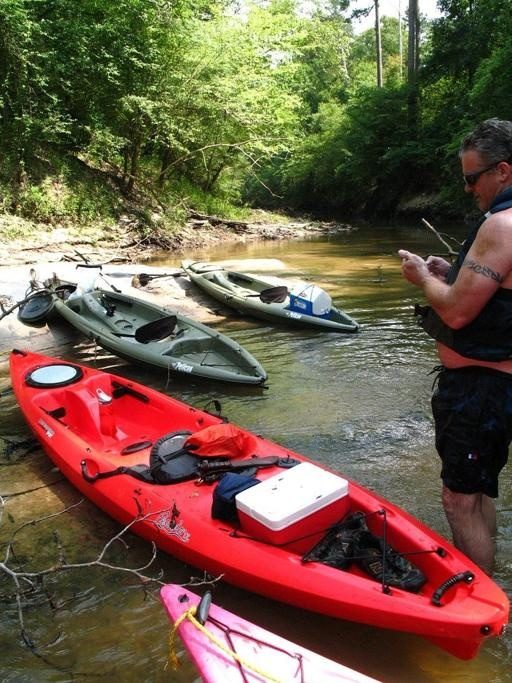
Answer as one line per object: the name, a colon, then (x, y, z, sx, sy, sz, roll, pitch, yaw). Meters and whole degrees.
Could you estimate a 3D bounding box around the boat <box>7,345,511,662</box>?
boat: (-0.408, 1.035, 4.087, 3.751, 0.560, 1.240, 21, 28, 37)

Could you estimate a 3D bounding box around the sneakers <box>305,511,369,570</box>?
sneakers: (0.420, 1.081, 3.312, 0.393, 0.142, 0.129, -34, 56, -19)

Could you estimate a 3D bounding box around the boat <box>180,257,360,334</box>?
boat: (-0.026, -0.787, 10.163, 3.087, 0.477, 1.129, 23, 32, 40)

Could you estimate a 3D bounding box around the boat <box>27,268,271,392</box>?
boat: (-1.422, -0.158, 7.795, 3.577, 0.742, 1.241, 23, 37, 26)

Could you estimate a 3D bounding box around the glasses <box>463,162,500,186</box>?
glasses: (0.992, -0.746, 2.748, 0.095, 0.025, 0.087, -27, -10, 11)

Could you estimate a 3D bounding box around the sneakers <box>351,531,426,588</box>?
sneakers: (0.653, 1.125, 3.218, 0.209, 0.143, 0.404, -31, 41, -34)
